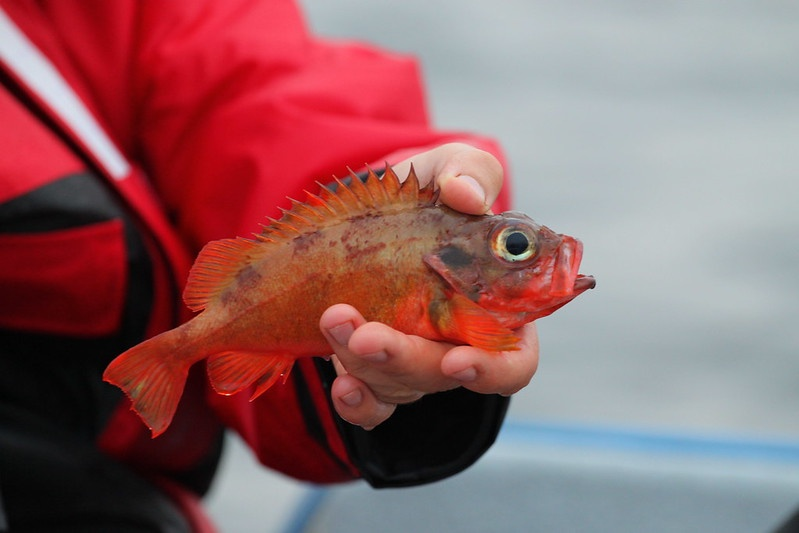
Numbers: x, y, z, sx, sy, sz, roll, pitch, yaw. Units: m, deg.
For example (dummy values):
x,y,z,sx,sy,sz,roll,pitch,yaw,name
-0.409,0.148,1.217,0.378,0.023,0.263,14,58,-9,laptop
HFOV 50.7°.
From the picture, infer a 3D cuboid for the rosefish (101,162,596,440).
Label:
x,y,z,sx,sy,sz,roll,pitch,yaw,name
-0.090,0.032,1.198,0.699,0.331,0.213,-13,22,-3,rosefish
